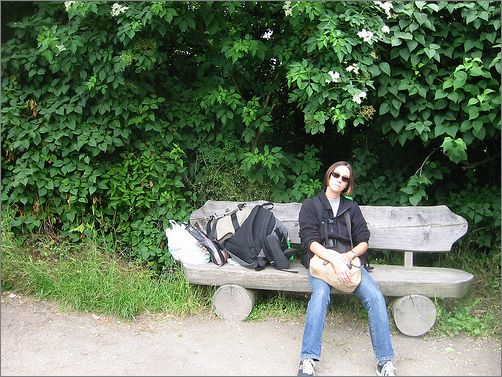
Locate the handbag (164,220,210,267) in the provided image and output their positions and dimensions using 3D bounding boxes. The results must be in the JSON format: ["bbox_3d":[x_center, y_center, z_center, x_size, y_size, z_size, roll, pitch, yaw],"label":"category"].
[{"bbox_3d":[-0.756,0.653,5.487,0.299,0.580,0.233,-39,-10,4],"label":"handbag"}]

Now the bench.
[{"bbox_3d":[0.920,0.881,5.471,3.260,1.326,1.130,-1,0,24],"label":"bench"}]

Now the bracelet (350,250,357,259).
[{"bbox_3d":[1.062,0.672,4.835,0.020,0.063,0.045,-33,-23,28],"label":"bracelet"}]

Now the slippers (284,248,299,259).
[{"bbox_3d":[0.436,0.742,5.282,0.103,0.065,0.146,6,8,26],"label":"slippers"}]

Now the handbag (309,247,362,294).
[{"bbox_3d":[0.873,0.827,4.748,0.460,0.392,0.175,29,12,21],"label":"handbag"}]
